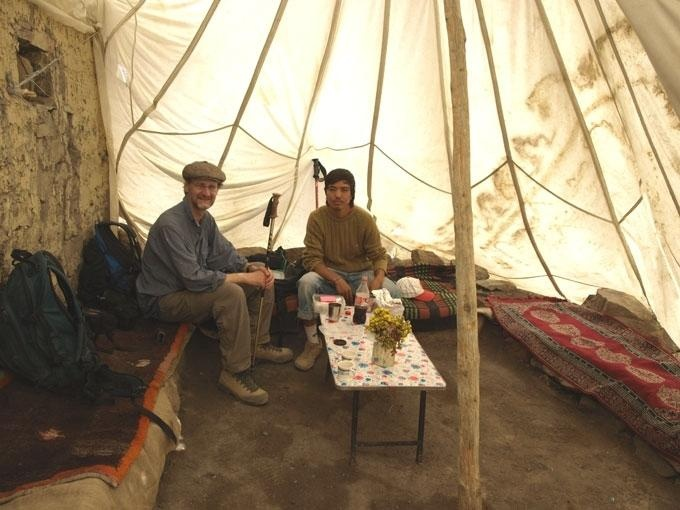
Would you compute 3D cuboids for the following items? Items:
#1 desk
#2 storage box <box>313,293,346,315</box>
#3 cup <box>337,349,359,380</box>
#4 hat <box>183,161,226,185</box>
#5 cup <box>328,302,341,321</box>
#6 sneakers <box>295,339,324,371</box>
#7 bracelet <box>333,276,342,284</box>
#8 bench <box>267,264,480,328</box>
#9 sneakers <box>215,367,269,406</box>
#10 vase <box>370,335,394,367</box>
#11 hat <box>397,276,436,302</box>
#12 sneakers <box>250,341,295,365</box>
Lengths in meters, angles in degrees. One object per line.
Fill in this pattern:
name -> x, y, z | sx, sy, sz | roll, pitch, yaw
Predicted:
desk -> 0.270, 1.343, 4.250 | 0.879, 0.765, 1.616 | -2, 25, -8
storage box -> -0.140, 0.413, 4.606 | 0.192, 0.072, 0.202 | 2, 15, -7
cup -> 0.052, 0.804, 3.842 | 0.150, 0.141, 0.310 | 3, 1, 2
hat -> -1.156, -0.692, 4.327 | 0.231, 0.102, 0.209 | 6, 13, 17
cup -> -0.053, 0.491, 4.533 | 0.127, 0.153, 0.133 | 6, 3, 0
sneakers -> -0.289, 0.934, 4.825 | 0.151, 0.134, 0.328 | 13, 32, 22
bracelet -> -0.021, 0.236, 4.943 | 0.057, 0.061, 0.097 | 2, 2, -28
bench -> 0.355, 0.474, 5.772 | 1.632, 0.477, 0.995 | -2, 22, -3
sneakers -> -0.803, 1.068, 4.423 | 0.501, 0.263, 0.187 | 19, 20, 24
vase -> 0.311, 0.700, 3.866 | 0.175, 0.215, 0.189 | 2, 6, 4
hat -> 0.823, 0.366, 5.714 | 0.349, 0.185, 0.244 | 4, 19, 4
sneakers -> -0.642, 0.911, 4.873 | 0.436, 0.205, 0.155 | -4, 29, -10
